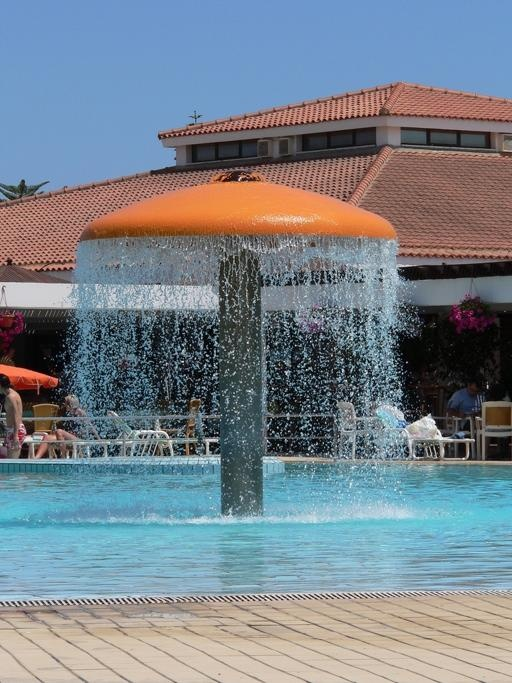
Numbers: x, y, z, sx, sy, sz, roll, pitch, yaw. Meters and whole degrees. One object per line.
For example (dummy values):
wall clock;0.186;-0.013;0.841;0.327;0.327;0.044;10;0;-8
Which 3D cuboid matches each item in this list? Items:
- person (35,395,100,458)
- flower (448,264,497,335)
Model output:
person;-2.615;1.194;13.719;0.980;1.024;0.539;6;-4;-28
flower;3.536;-0.443;16.529;0.676;0.601;1.142;-1;-4;17
